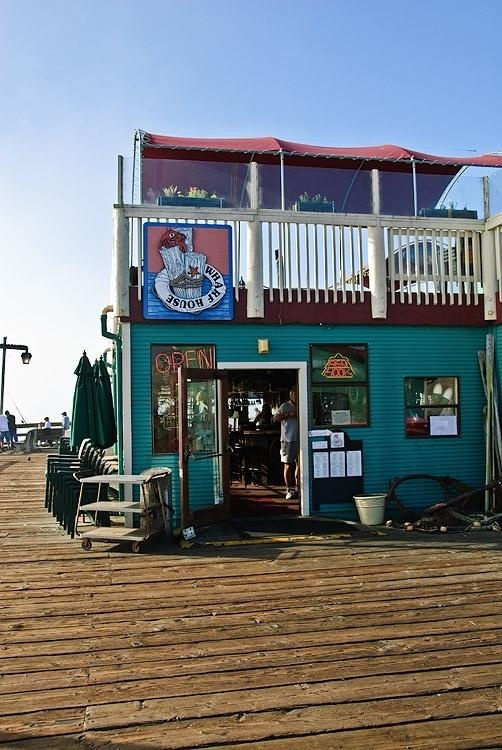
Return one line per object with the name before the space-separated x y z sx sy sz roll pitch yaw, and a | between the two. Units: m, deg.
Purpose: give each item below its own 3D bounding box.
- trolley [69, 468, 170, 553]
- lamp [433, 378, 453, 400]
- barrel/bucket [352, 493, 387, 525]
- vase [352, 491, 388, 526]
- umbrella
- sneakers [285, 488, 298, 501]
trolley | -1.358 1.335 7.878 0.671 1.129 1.211 2 -11 -6
lamp | 2.497 0.183 9.684 0.209 0.202 0.091 28 -11 -23
barrel/bucket | 1.402 1.573 8.613 0.324 0.278 0.352 0 -11 0
vase | 1.403 1.559 8.583 0.324 0.284 0.353 1 -11 -4
umbrella | -1.988 0.333 9.349 0.532 1.241 0.858 -1 -1 -4
sneakers | 0.560 1.727 10.620 0.166 0.116 0.220 4 -2 -42
